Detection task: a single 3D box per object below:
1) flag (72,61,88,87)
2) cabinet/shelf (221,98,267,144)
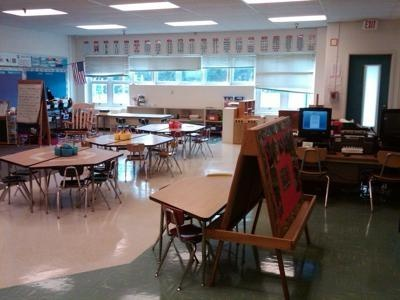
[{"bbox_3d":[-5.263,-3.340,13.532,0.495,0.938,0.463,-5,13,-19],"label":"flag"},{"bbox_3d":[1.597,-1.082,11.403,1.317,2.069,2.453,1,10,12],"label":"cabinet/shelf"}]
